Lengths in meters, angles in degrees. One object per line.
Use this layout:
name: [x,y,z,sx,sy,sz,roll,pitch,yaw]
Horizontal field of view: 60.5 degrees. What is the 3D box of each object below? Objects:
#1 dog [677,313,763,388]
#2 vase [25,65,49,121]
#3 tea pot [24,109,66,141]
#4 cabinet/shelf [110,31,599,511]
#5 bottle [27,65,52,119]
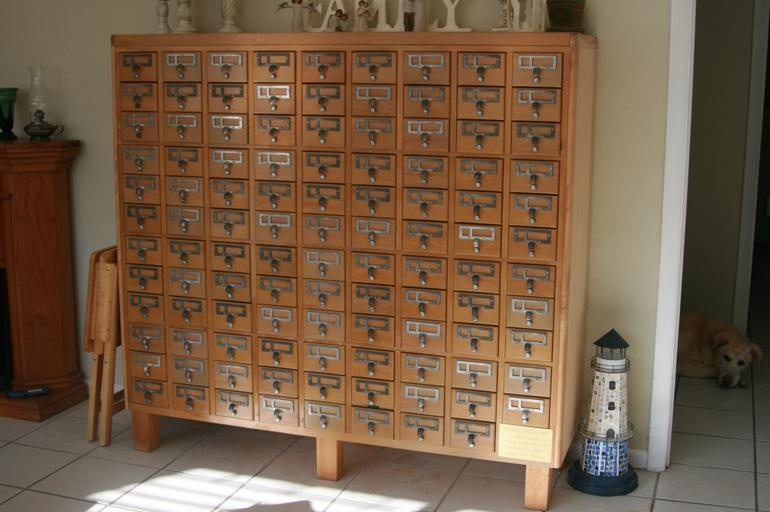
dog: [3.063,0.847,6.135,0.514,0.384,0.922,-6,4,-17]
vase: [-2.762,-1.308,5.277,0.148,0.360,0.140,3,16,-13]
tea pot: [-2.728,-1.032,5.256,0.236,0.208,0.305,-2,4,-5]
cabinet/shelf: [-0.116,0.027,4.280,3.281,2.848,1.139,1,6,15]
bottle: [-2.807,-1.328,5.323,0.148,0.373,0.252,-10,15,-25]
